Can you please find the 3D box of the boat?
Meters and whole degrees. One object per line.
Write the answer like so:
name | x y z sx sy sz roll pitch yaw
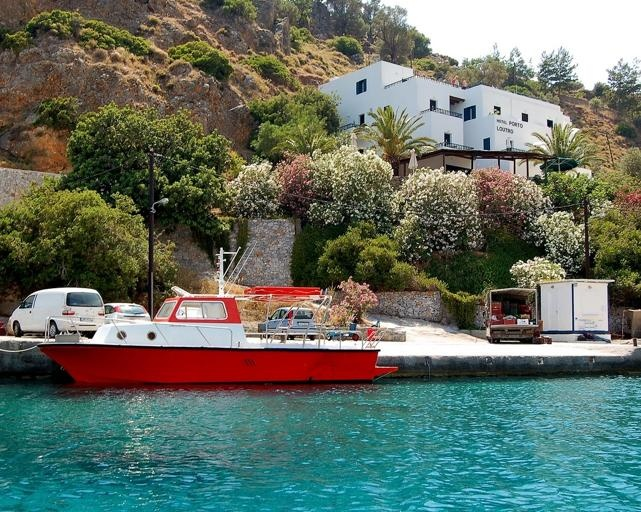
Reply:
boat | -4.973 3.811 37.972 10.861 3.900 4.337 0 -1 -4

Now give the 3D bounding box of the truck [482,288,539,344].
truck | 10.778 3.335 48.425 1.972 2.169 3.593 0 -1 7

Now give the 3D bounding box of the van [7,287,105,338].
van | -12.074 2.577 39.665 4.818 2.085 1.963 -1 -1 38
